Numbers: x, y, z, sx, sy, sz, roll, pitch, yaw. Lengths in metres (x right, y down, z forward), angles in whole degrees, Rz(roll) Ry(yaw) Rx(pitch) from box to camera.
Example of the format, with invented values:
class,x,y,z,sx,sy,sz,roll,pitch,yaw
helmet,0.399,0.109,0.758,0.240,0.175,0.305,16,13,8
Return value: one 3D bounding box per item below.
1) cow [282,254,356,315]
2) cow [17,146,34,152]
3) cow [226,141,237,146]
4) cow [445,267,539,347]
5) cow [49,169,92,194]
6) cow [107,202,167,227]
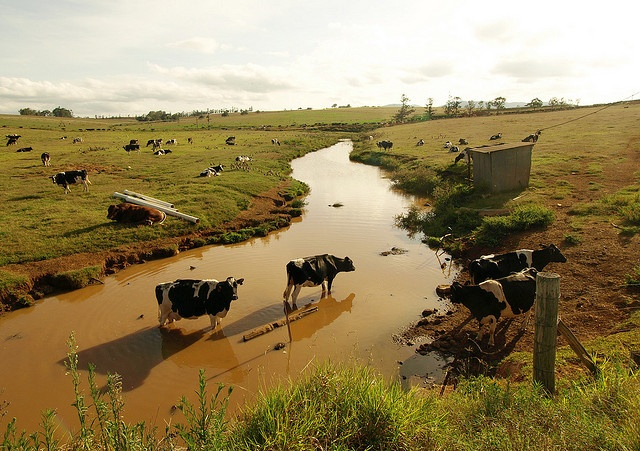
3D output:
class,x,y,z,sx,sy,sz,roll,pitch,yaw
cow,0.113,2.149,16.845,3.880,1.971,0.942,-8,10,-43
cow,-31.243,-8.198,43.162,1.400,0.356,1.594,-11,19,-34
cow,-13.622,-12.965,63.072,1.793,0.524,1.644,-1,18,-11
cow,6.067,2.843,13.806,4.008,2.158,1.273,-5,4,-26
cow,-16.711,-3.115,27.547,2.022,1.321,3.062,-10,18,-29
cow,-10.103,-0.524,22.940,3.573,1.489,1.161,7,14,-4
